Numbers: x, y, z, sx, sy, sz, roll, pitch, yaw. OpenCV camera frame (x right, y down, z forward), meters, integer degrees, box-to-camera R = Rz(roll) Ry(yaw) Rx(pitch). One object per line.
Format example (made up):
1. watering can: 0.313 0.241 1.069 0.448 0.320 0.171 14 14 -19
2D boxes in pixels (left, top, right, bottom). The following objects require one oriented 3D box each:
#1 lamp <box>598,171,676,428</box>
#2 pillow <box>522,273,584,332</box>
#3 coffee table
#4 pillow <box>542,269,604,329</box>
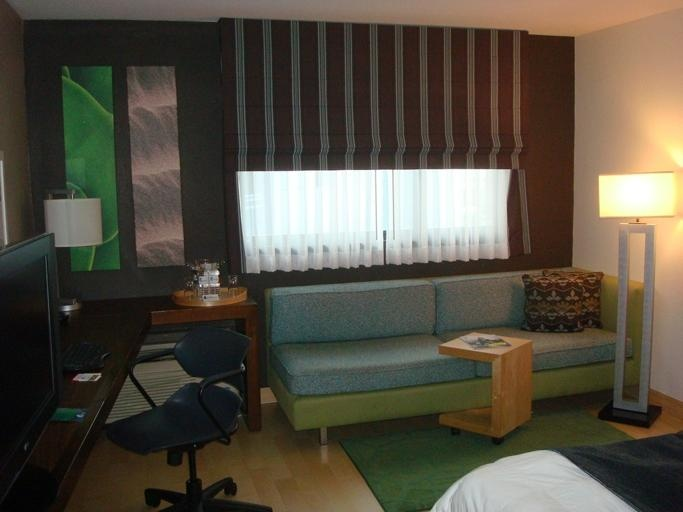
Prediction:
1. lamp: 2.146 0.273 4.199 0.528 1.772 0.765 4 14 25
2. pillow: 1.669 0.372 4.435 0.415 0.422 0.164 0 -12 7
3. coffee table: 1.019 0.915 3.969 0.631 0.585 0.661 -1 2 17
4. pillow: 1.820 0.354 4.448 0.145 0.411 0.410 9 -4 -43
